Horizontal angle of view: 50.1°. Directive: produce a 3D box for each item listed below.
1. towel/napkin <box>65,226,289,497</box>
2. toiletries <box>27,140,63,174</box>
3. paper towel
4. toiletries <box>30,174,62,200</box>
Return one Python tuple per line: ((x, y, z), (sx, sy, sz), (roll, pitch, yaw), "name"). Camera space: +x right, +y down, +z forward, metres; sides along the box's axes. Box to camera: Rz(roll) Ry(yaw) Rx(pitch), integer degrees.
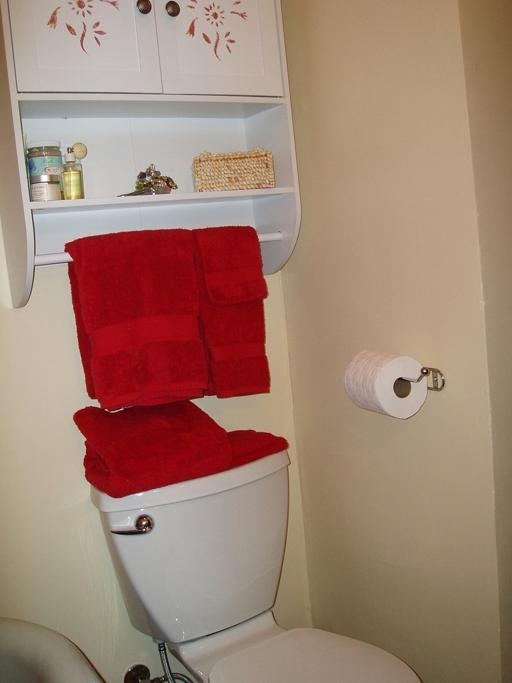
((-0.173, 0.001, 1.175), (0.546, 0.577, 0.166), (-7, 9, -38), "towel/napkin")
((-0.428, -0.369, 1.109), (0.065, 0.073, 0.066), (-3, 4, -16), "toiletries")
((0.237, 0.074, 1.048), (0.114, 0.122, 0.143), (-18, 14, -23), "paper towel")
((-0.423, -0.308, 1.103), (0.054, 0.056, 0.055), (-7, 16, -26), "toiletries")
